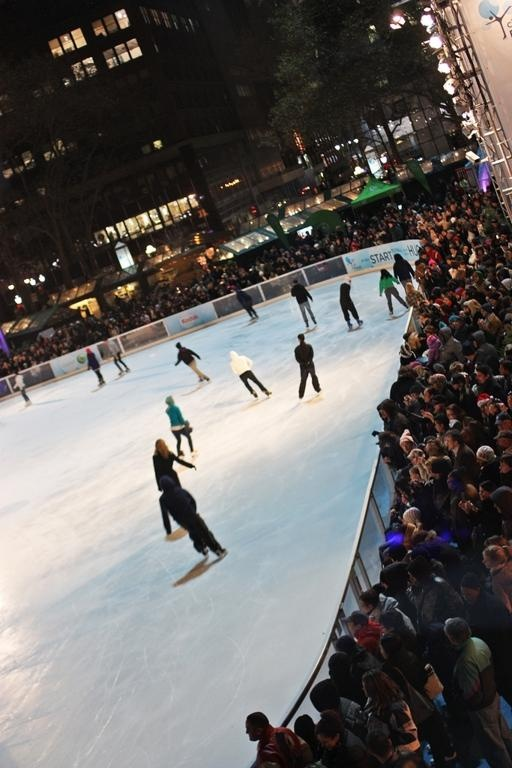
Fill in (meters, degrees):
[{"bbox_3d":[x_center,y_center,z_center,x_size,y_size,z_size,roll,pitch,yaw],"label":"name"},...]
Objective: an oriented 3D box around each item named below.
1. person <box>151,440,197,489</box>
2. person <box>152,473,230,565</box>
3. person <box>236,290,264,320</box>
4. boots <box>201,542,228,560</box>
[{"bbox_3d":[-1.329,1.451,8.922,0.741,1.230,0.293,0,18,3],"label":"person"},{"bbox_3d":[-1.086,2.152,8.963,0.598,1.433,0.716,-28,8,-30],"label":"person"},{"bbox_3d":[-0.253,-4.341,30.596,0.645,2.326,0.745,-48,44,-8],"label":"person"},{"bbox_3d":[-0.717,2.701,9.126,0.473,0.331,0.131,-8,-35,-2],"label":"boots"}]
